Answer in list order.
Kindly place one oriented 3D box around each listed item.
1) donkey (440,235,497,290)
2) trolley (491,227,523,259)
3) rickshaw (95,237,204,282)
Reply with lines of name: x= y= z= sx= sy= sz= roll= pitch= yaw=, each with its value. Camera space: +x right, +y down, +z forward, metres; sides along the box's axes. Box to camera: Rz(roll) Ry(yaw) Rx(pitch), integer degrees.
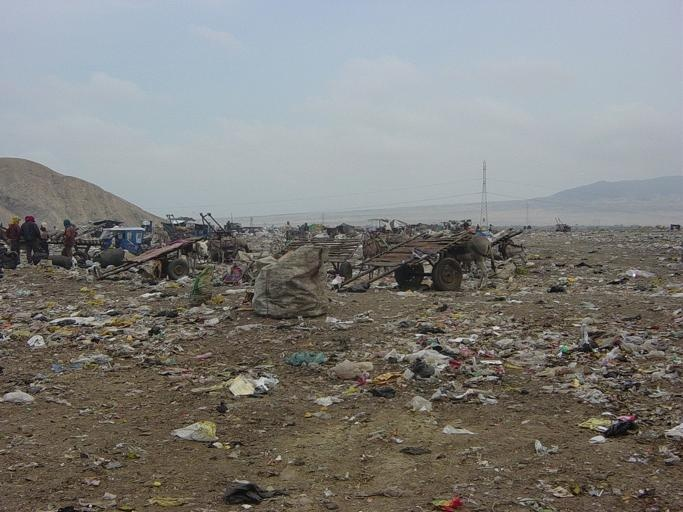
donkey: x=2.972 y=0.144 z=14.801 sx=1.543 sy=1.268 sz=1.397 roll=-2 pitch=4 yaw=30
trolley: x=4.386 y=-0.329 z=16.744 sx=0.876 sy=0.566 sz=1.820 roll=-5 pitch=8 yaw=18
rickshaw: x=-5.270 y=0.022 z=17.291 sx=3.203 sy=0.936 sz=1.123 roll=0 pitch=2 yaw=8
